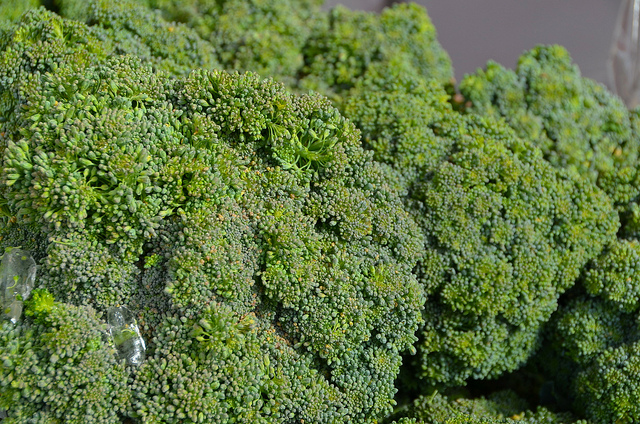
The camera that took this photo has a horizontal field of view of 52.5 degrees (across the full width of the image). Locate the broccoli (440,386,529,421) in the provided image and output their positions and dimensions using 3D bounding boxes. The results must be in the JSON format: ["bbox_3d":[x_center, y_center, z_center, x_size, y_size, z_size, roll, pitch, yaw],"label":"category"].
[{"bbox_3d":[1.399,1.635,5.555,0.449,0.163,0.356,20,-16,-7],"label":"broccoli"}]

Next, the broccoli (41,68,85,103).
[{"bbox_3d":[-2.001,-0.969,5.184,0.289,0.294,0.252,-1,-17,1],"label":"broccoli"}]
